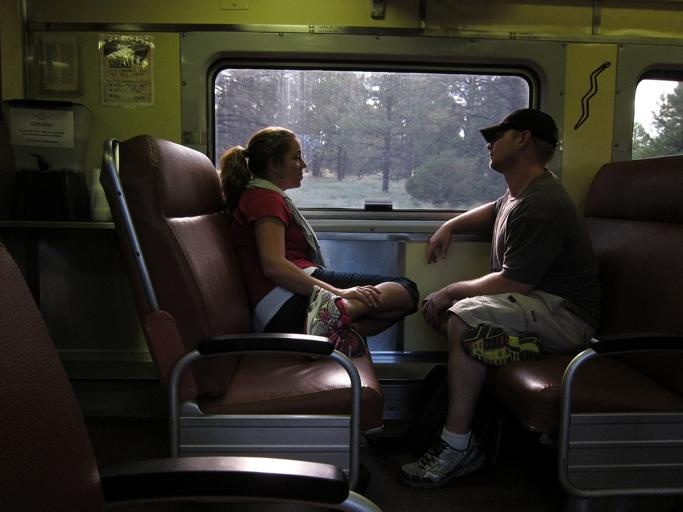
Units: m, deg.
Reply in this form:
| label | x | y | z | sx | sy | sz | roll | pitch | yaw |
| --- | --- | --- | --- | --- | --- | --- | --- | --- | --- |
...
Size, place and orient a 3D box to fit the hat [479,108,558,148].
| label | x | y | z | sx | sy | sz | roll | pitch | yaw |
| --- | --- | --- | --- | --- | --- | --- | --- | --- | --- |
| hat | 0.964 | -0.670 | 3.388 | 0.324 | 0.194 | 0.214 | 9 | 5 | 12 |

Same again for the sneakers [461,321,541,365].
| label | x | y | z | sx | sy | sz | roll | pitch | yaw |
| --- | --- | --- | --- | --- | --- | --- | --- | --- | --- |
| sneakers | 0.747 | 0.397 | 3.001 | 0.424 | 0.165 | 0.184 | -2 | 1 | -2 |

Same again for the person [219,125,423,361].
| label | x | y | z | sx | sy | sz | roll | pitch | yaw |
| --- | --- | --- | --- | --- | --- | --- | --- | --- | --- |
| person | -0.052 | -0.071 | 3.520 | 1.217 | 1.355 | 0.799 | -1 | -1 | -12 |
